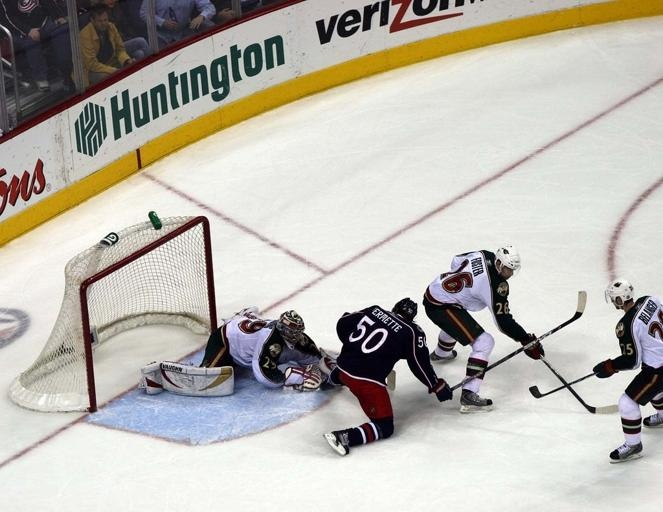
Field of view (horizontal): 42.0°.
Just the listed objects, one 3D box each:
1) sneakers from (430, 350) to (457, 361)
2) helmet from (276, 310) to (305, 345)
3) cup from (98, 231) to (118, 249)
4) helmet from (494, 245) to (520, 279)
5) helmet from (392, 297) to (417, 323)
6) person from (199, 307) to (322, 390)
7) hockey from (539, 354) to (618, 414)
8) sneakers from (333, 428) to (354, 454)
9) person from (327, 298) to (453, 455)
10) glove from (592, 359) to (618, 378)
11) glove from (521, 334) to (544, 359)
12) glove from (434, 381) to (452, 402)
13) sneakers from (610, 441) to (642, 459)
[{"bbox_3d":[0.898,0.823,6.982,0.244,0.068,0.086,-4,-24,4],"label":"sneakers"},{"bbox_3d":[-0.306,0.542,6.423,0.140,0.262,0.169,-22,22,-26],"label":"helmet"},{"bbox_3d":[-1.763,-0.140,6.821,0.134,0.101,0.154,-28,-5,-22],"label":"cup"},{"bbox_3d":[1.287,0.061,6.362,0.168,0.249,0.134,-11,19,3],"label":"helmet"},{"bbox_3d":[0.545,0.407,6.409,0.146,0.175,0.191,29,5,-2],"label":"helmet"},{"bbox_3d":[-0.531,0.670,6.699,0.852,0.340,0.644,15,23,36],"label":"person"},{"bbox_3d":[1.814,0.982,6.230,0.668,0.212,0.053,38,51,8],"label":"hockey"},{"bbox_3d":[0.065,1.285,5.976,0.107,0.077,0.212,-13,44,-24],"label":"sneakers"},{"bbox_3d":[0.331,0.872,6.185,0.792,0.652,1.203,30,31,29],"label":"person"},{"bbox_3d":[1.874,0.783,5.912,0.169,0.106,0.079,-23,-11,36],"label":"glove"},{"bbox_3d":[1.480,0.675,6.397,0.079,0.139,0.197,-8,49,-49],"label":"glove"},{"bbox_3d":[0.799,0.994,6.274,0.140,0.153,0.172,0,-2,-1],"label":"glove"},{"bbox_3d":[1.912,1.302,5.682,0.261,0.104,0.084,-8,38,5],"label":"sneakers"}]
